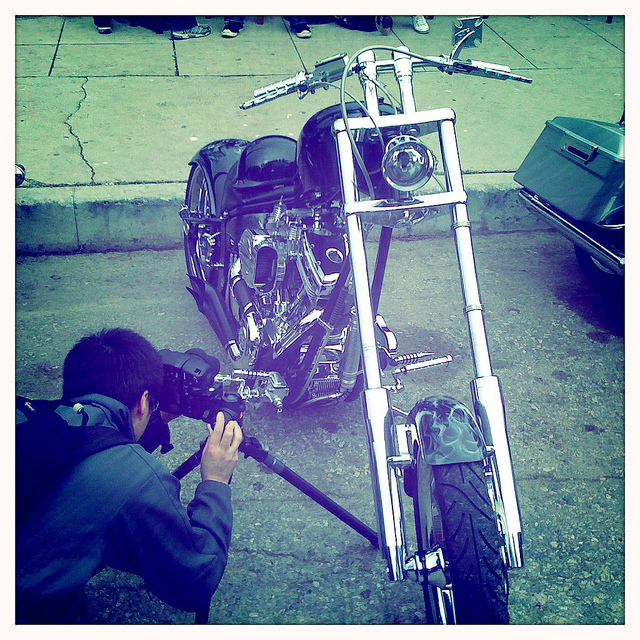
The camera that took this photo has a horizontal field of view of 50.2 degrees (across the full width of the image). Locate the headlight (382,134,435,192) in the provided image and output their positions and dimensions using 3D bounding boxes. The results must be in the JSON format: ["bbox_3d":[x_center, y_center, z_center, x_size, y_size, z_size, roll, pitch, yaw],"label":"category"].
[{"bbox_3d":[0.272,-0.475,2.111,0.153,0.158,0.033,2,9,6],"label":"headlight"}]

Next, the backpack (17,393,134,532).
[{"bbox_3d":[-0.783,0.427,2.196,0.340,0.382,0.308,-1,9,-17],"label":"backpack"}]

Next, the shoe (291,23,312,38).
[{"bbox_3d":[-0.176,-2.854,6.729,0.103,0.109,0.261,-14,51,-13],"label":"shoe"}]

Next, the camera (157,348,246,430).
[{"bbox_3d":[-0.458,0.250,2.626,0.371,0.181,0.278,20,32,12],"label":"camera"}]

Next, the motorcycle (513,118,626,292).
[{"bbox_3d":[1.566,-0.753,4.093,0.252,0.910,0.826,-2,9,-19],"label":"motorcycle"}]

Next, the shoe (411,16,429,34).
[{"bbox_3d":[1.018,-2.965,6.910,0.096,0.273,0.109,-16,-28,3],"label":"shoe"}]
